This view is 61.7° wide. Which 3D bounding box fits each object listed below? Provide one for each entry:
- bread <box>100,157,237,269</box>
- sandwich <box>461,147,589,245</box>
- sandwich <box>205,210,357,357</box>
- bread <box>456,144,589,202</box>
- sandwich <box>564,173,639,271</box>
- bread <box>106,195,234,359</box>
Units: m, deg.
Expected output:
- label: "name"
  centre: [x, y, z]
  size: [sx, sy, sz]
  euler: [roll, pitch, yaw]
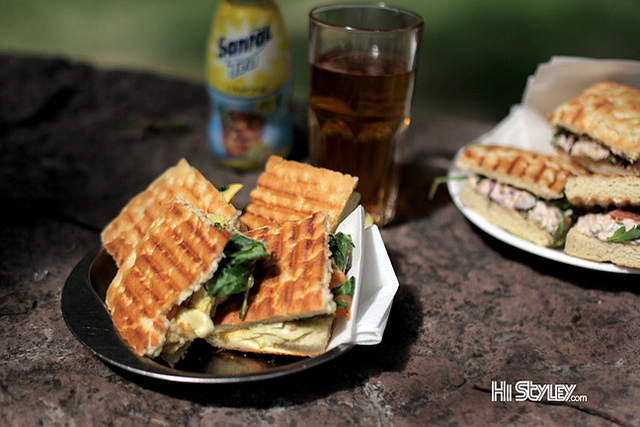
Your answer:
- label: "bread"
  centre: [-0.364, 0.047, 1.487]
  size: [0.314, 0.082, 0.313]
  euler: [-41, 44, -6]
- label: "sandwich"
  centre: [0.606, -0.094, 1.592]
  size: [0.317, 0.172, 0.267]
  euler: [28, 18, 33]
- label: "sandwich"
  centre: [-0.062, 0.163, 1.229]
  size: [0.331, 0.123, 0.338]
  euler: [6, 62, 22]
- label: "bread"
  centre: [0.586, -0.136, 1.585]
  size: [0.217, 0.060, 0.231]
  euler: [14, 28, 2]
- label: "sandwich"
  centre: [0.729, 0.013, 1.466]
  size: [0.239, 0.069, 0.251]
  euler: [-2, 43, 20]
- label: "bread"
  centre: [-0.401, 0.092, 1.322]
  size: [0.406, 0.113, 0.345]
  euler: [35, 90, 36]
